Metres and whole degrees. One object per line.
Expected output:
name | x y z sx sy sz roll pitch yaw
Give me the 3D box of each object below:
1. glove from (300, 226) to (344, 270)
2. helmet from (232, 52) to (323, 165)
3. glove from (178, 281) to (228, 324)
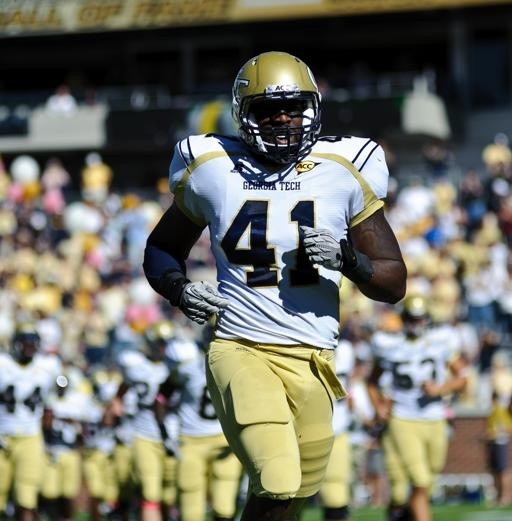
glove | 0.312 -0.057 5.625 0.194 0.208 0.130 -3 -3 8
helmet | 0.104 -0.792 6.000 0.497 0.454 0.611 -7 21 -18
glove | -0.261 0.201 5.687 0.247 0.201 0.101 -5 -4 36
